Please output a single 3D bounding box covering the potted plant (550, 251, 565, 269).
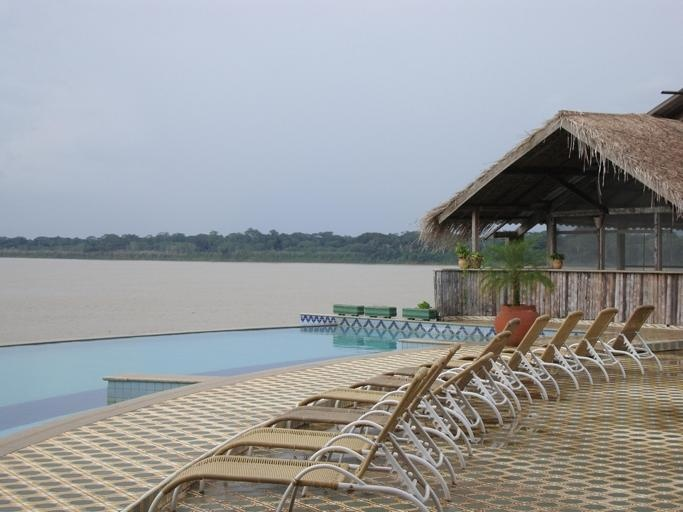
[{"bbox_3d":[5.745,0.155,19.432,0.417,0.381,0.391,0,1,-19],"label":"potted plant"}]

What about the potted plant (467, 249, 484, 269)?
[{"bbox_3d":[3.449,0.137,18.773,0.435,0.379,0.409,-1,2,-20],"label":"potted plant"}]

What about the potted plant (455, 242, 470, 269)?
[{"bbox_3d":[3.219,0.018,19.269,0.364,0.607,1.197,1,2,9],"label":"potted plant"}]
